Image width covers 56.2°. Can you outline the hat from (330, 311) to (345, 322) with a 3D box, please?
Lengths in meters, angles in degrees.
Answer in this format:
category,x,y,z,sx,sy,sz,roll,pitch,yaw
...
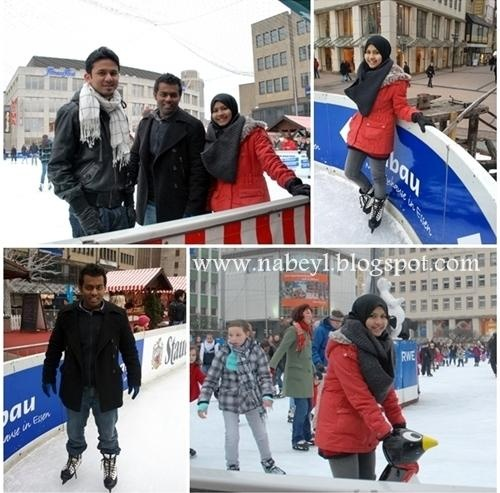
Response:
category,x,y,z,sx,sy,sz,roll,pitch,yaw
hat,0.606,0.489,3.247,0.100,0.048,0.136,1,-7,-1

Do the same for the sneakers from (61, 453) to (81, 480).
category,x,y,z,sx,sy,sz,roll,pitch,yaw
sneakers,-1.189,1.458,3.154,0.073,0.100,0.226,11,10,-2

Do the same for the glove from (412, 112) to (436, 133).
category,x,y,z,sx,sy,sz,roll,pitch,yaw
glove,1.143,-0.807,3.047,0.097,0.142,0.039,-18,-3,-20

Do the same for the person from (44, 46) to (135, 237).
category,x,y,z,sx,sy,sz,roll,pitch,yaw
person,-0.899,-0.585,2.704,0.501,1.040,0.268,-1,1,-33

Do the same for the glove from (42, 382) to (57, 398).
category,x,y,z,sx,sy,sz,roll,pitch,yaw
glove,-1.294,0.921,3.006,0.089,0.096,0.041,-11,12,-40

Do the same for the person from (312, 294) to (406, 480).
category,x,y,z,sx,sy,sz,roll,pitch,yaw
person,0.573,0.789,2.422,0.434,1.050,0.467,0,1,37

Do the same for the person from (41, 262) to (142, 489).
category,x,y,z,sx,sy,sz,roll,pitch,yaw
person,-1.019,0.880,3.024,0.587,1.516,0.300,-1,1,-27

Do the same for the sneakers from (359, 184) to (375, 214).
category,x,y,z,sx,sy,sz,roll,pitch,yaw
sneakers,0.874,-0.352,3.499,0.066,0.220,0.088,3,9,33

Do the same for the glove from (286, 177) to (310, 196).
category,x,y,z,sx,sy,sz,roll,pitch,yaw
glove,0.289,-0.352,2.771,0.163,0.097,0.096,-1,1,-10

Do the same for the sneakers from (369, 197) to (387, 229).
category,x,y,z,sx,sy,sz,roll,pitch,yaw
sneakers,0.952,-0.240,3.494,0.069,0.249,0.108,9,11,16

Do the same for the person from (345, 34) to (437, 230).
category,x,y,z,sx,sy,sz,roll,pitch,yaw
person,0.900,-0.744,3.232,0.376,1.284,0.584,-1,1,-28

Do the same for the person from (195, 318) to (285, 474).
category,x,y,z,sx,sy,sz,roll,pitch,yaw
person,-0.073,1.049,3.224,0.510,1.117,0.306,-3,6,-4

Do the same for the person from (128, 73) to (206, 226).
category,x,y,z,sx,sy,sz,roll,pitch,yaw
person,-0.529,-0.588,2.935,0.492,0.905,0.229,0,1,21

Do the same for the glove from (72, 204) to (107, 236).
category,x,y,z,sx,sy,sz,roll,pitch,yaw
glove,-0.888,-0.149,2.658,0.164,0.184,0.152,-9,5,-6
